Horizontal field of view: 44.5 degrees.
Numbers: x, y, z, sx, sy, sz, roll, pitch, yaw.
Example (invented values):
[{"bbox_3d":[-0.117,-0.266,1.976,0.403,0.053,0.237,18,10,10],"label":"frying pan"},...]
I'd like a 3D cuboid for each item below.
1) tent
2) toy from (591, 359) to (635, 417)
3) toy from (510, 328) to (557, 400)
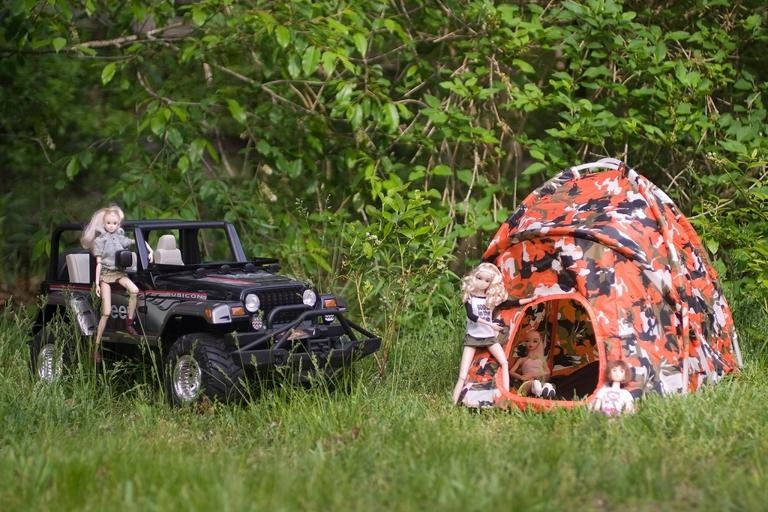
[{"bbox_3d":[2.375,0.280,9.860,2.267,2.059,2.832,-4,-6,39],"label":"tent"},{"bbox_3d":[2.073,1.194,8.544,0.402,0.469,0.257,0,-6,5],"label":"toy"},{"bbox_3d":[1.539,1.089,9.486,0.379,0.800,0.792,3,-2,-11],"label":"toy"}]
